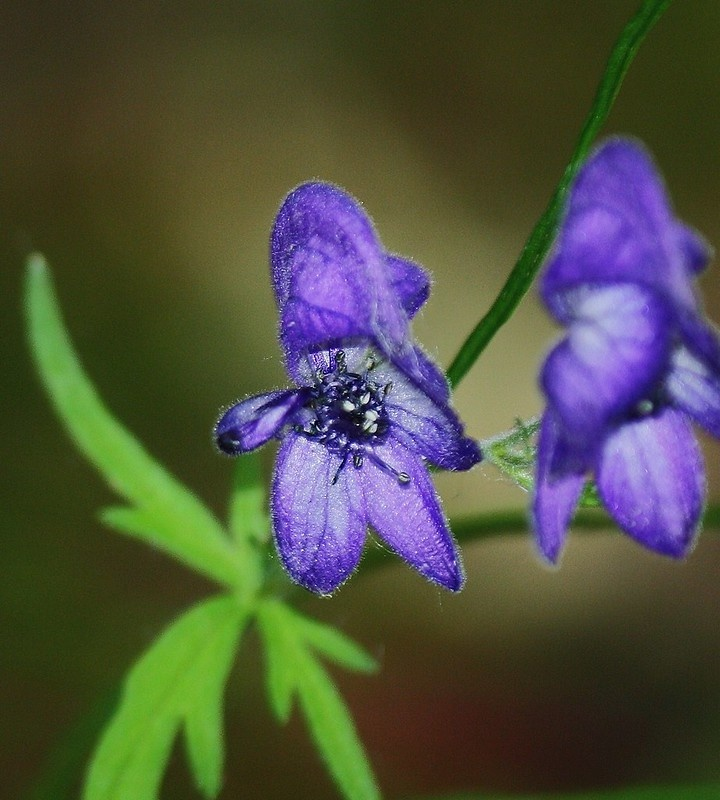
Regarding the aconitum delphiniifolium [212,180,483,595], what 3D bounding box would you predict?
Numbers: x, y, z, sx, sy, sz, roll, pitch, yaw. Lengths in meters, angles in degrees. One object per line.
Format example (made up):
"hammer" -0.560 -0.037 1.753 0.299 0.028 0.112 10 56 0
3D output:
"aconitum delphiniifolium" -0.012 0.003 0.555 0.148 0.233 0.122 -23 -26 21
